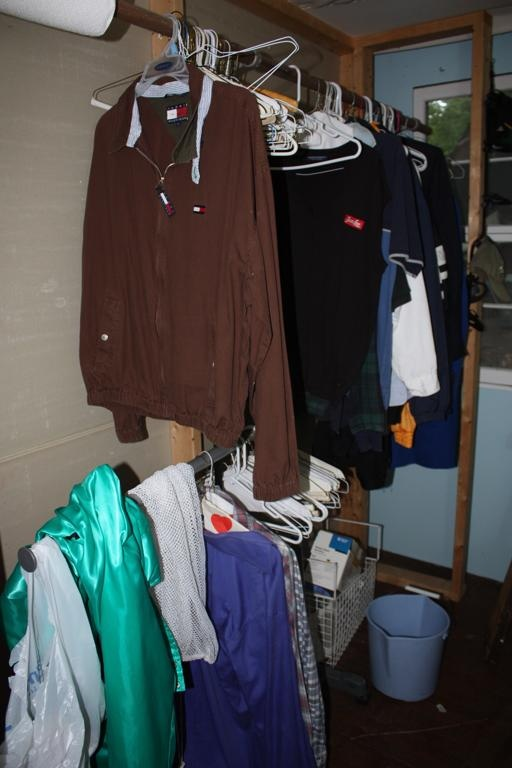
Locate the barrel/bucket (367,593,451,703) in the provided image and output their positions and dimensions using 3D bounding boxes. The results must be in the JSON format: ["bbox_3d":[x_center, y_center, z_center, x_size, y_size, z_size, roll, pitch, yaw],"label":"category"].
[{"bbox_3d":[0.528,0.884,2.046,0.254,0.315,0.316,4,13,22],"label":"barrel/bucket"}]

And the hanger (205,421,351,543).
[{"bbox_3d":[0.088,0.318,1.627,0.265,0.161,0.350,-12,20,-33],"label":"hanger"}]
